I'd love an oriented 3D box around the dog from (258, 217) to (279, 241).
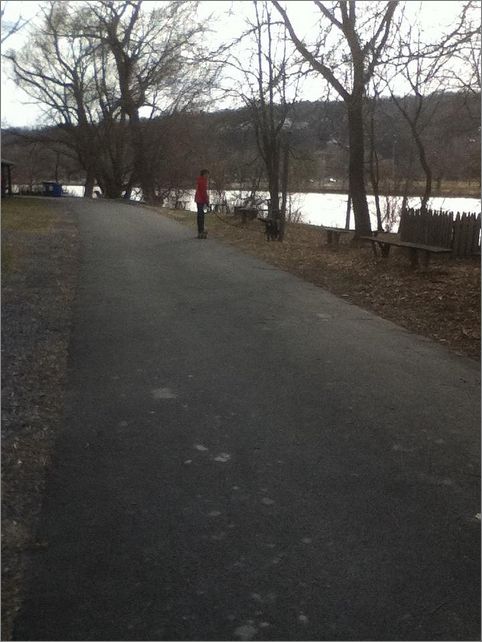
[{"bbox_3d":[1.047,-3.224,18.666,0.416,0.774,1.198,0,14,3],"label":"dog"}]
